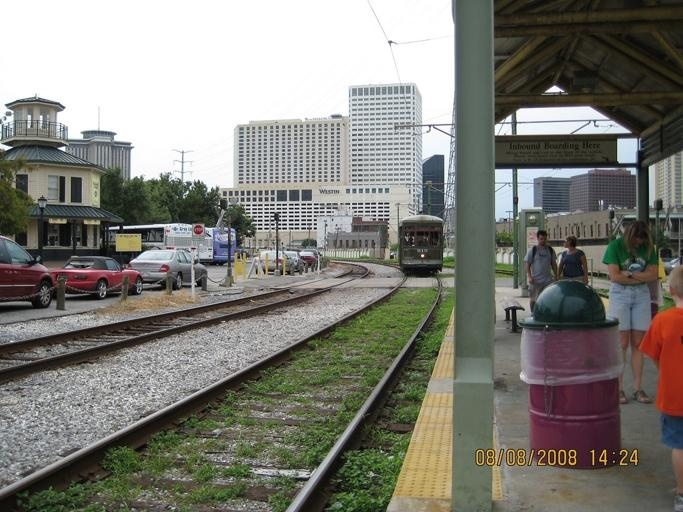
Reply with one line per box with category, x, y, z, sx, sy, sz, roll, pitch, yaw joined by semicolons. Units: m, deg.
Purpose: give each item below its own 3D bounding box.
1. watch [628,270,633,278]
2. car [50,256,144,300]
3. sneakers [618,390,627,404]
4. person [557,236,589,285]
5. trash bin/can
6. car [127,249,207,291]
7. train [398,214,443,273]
watch;3.286;0.206;8.076;0.073;0.074;0.020;2;-6;1
car;-7.821;0.674;23.182;1.402;1.078;3.104;1;2;13
sneakers;3.262;1.640;8.255;0.103;0.084;0.311;-6;-8;16
person;4.051;0.051;12.475;0.493;0.797;1.934;0;2;18
trash bin/can;2.129;1.073;6.575;0.884;1.690;0.438;0;2;18
car;-6.682;0.434;28.866;1.651;1.358;4.047;0;2;14
train;4.459;-0.672;39.526;2.270;2.822;5.758;1;-1;6
